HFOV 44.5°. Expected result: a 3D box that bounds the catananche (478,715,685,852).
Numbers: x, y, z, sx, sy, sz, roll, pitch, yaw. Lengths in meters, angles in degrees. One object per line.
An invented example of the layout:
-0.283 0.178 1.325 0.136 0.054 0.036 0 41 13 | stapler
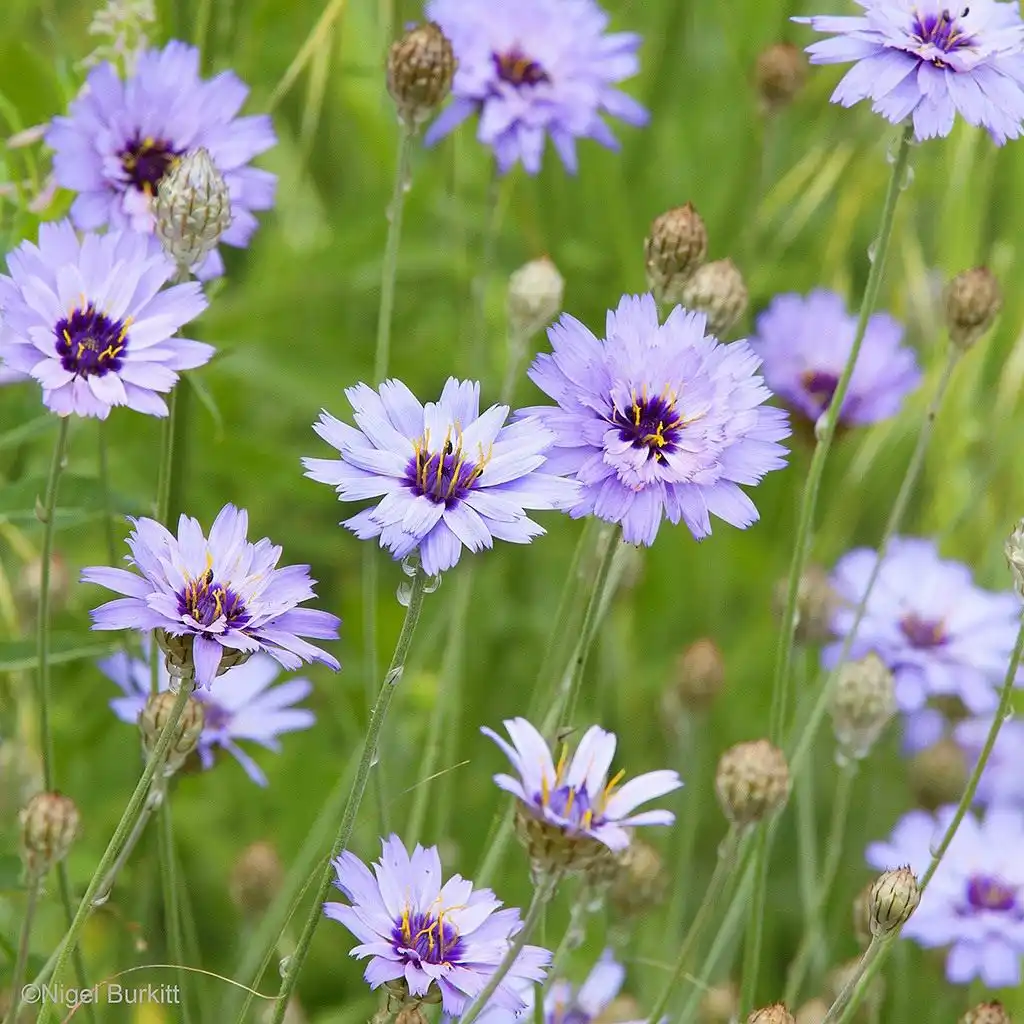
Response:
0.033 0.152 0.665 0.099 0.045 0.129 16 10 -1 | catananche

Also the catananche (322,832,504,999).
-0.056 0.233 0.695 0.084 0.046 0.096 33 45 -3 | catananche

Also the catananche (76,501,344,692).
-0.157 0.047 0.657 0.102 0.050 0.112 -21 64 -42 | catananche

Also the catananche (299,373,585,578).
-0.032 -0.029 0.689 0.108 0.045 0.125 -19 61 -27 | catananche

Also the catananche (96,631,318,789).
-0.252 0.139 1.015 0.162 0.069 0.195 -3 -5 39 | catananche
